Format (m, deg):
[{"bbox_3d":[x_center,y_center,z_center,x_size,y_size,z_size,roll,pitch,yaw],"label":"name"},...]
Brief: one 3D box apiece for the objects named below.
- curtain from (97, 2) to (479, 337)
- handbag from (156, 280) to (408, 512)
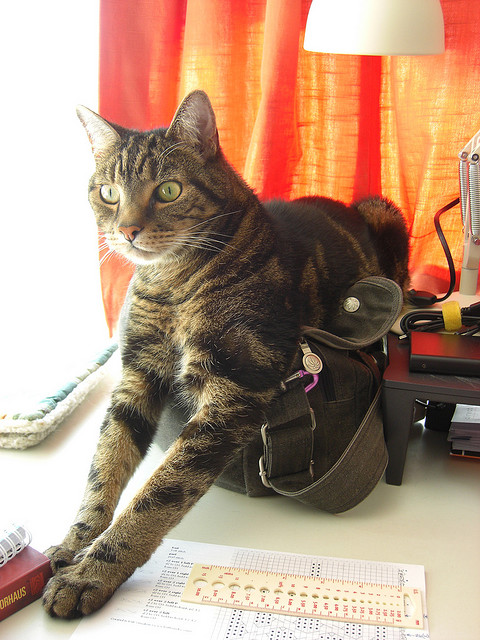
[{"bbox_3d":[0.074,-0.267,0.951,0.749,0.687,0.078,0,18,-5],"label":"curtain"},{"bbox_3d":[0.075,0.073,0.843,0.156,0.355,0.268,14,-19,0],"label":"handbag"}]
